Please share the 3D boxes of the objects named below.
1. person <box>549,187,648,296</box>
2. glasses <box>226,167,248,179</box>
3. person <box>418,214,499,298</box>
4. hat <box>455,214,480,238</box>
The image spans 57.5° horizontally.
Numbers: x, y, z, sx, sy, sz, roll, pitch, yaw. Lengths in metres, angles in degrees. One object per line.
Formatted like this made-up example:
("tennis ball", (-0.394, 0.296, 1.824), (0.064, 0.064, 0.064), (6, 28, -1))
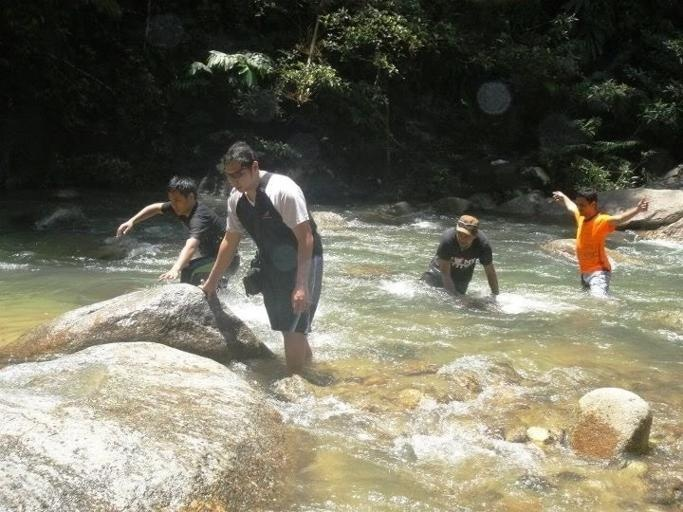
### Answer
("person", (4.016, -0.243, 9.854), (0.937, 1.594, 1.125), (3, 5, 14))
("glasses", (-1.040, -0.824, 6.162), (0.208, 0.115, 0.078), (3, 5, 11))
("person", (1.798, -0.003, 9.228), (0.810, 1.188, 1.094), (0, 5, -18))
("hat", (1.789, -0.420, 8.796), (0.273, 0.187, 0.384), (20, 2, 20))
